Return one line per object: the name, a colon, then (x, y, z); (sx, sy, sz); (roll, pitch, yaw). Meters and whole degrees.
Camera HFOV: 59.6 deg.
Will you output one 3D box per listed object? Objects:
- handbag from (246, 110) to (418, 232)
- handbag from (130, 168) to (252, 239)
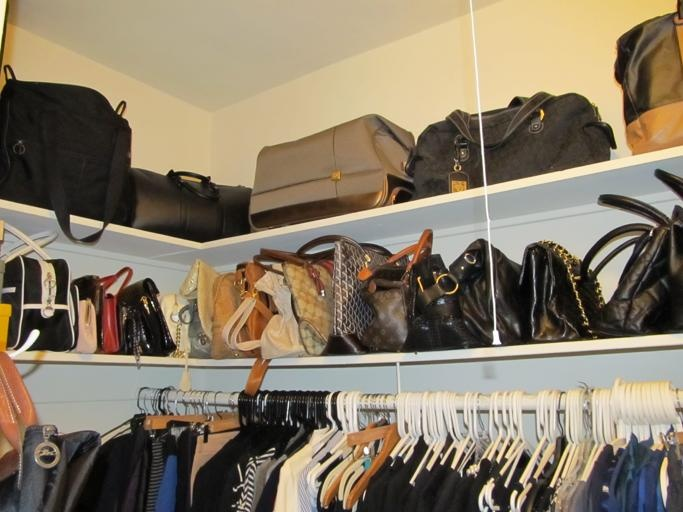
handbag: (-0.052, -0.268, 2.012); (0.505, 0.297, 0.386); (-10, -11, 35)
handbag: (-0.567, -0.183, 2.205); (0.113, 0.159, 0.277); (-15, -14, 39)
